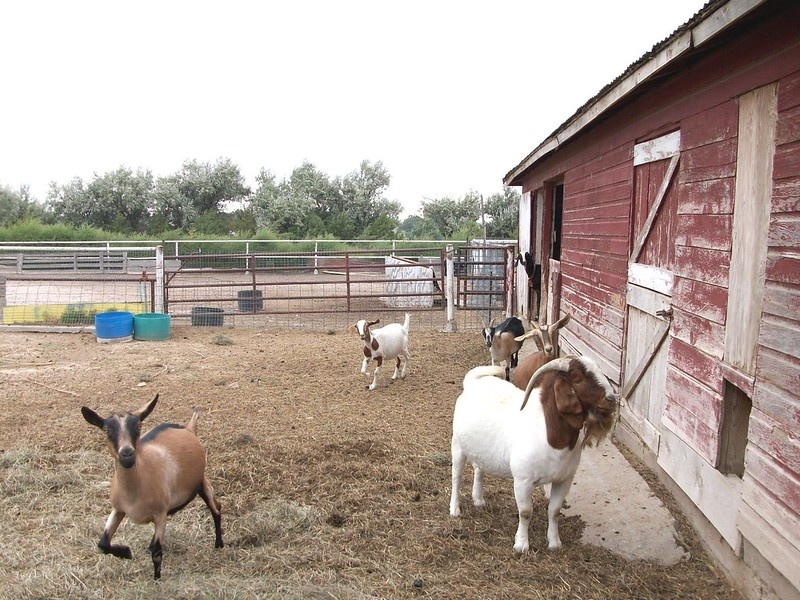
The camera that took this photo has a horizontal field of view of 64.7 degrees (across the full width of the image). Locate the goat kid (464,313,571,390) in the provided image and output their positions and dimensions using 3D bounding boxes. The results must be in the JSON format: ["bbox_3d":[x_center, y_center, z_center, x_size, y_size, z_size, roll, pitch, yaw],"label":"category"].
[{"bbox_3d":[1.414,0.553,6.578,0.448,0.724,0.922,-10,-4,-7],"label":"goat kid"}]

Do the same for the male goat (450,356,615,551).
[{"bbox_3d":[0.989,1.166,5.027,0.675,1.566,1.675,2,-2,-36],"label":"male goat"}]

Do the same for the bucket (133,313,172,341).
[{"bbox_3d":[-4.549,0.501,11.732,0.461,0.344,0.501,1,1,0],"label":"bucket"}]

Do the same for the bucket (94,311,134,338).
[{"bbox_3d":[-5.176,0.386,11.392,0.461,0.397,0.513,2,6,11],"label":"bucket"}]

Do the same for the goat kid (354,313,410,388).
[{"bbox_3d":[-0.238,0.718,8.898,0.420,0.994,1.339,3,5,34],"label":"goat kid"}]

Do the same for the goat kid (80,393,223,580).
[{"bbox_3d":[-1.794,1.382,4.660,0.484,1.278,1.487,-3,-5,4],"label":"goat kid"}]
